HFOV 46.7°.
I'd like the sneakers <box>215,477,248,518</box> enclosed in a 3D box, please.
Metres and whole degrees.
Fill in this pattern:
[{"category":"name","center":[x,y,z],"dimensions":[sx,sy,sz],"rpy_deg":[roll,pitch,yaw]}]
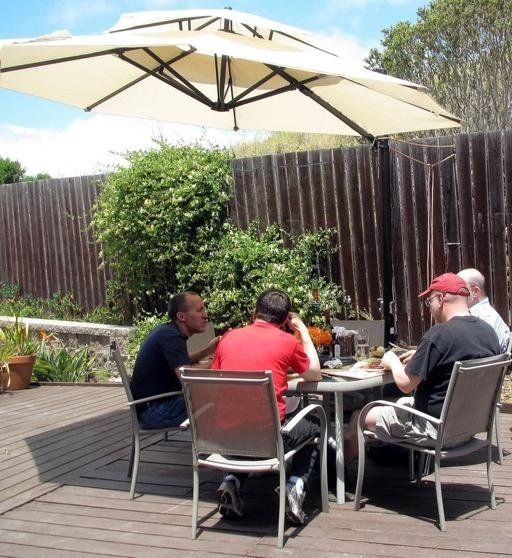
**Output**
[{"category":"sneakers","center":[-0.118,1.050,2.876],"dimensions":[0.080,0.270,0.126],"rpy_deg":[-2,43,5]}]

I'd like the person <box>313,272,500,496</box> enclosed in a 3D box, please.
[{"category":"person","center":[0.851,0.492,3.026],"dimensions":[0.647,1.039,0.543],"rpy_deg":[4,2,37]}]

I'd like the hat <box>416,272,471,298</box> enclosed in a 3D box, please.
[{"category":"hat","center":[0.940,0.027,2.982],"dimensions":[0.188,0.126,0.131],"rpy_deg":[6,4,31]}]

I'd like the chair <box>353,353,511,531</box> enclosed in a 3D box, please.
[{"category":"chair","center":[0.988,0.733,3.238],"dimensions":[0.760,1.158,0.713],"rpy_deg":[0,0,41]}]

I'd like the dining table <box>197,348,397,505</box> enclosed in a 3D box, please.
[{"category":"dining table","center":[0.325,0.621,3.213],"dimensions":[0.713,0.712,0.887],"rpy_deg":[-2,1,25]}]

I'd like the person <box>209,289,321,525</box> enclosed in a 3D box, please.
[{"category":"person","center":[0.035,0.623,2.970],"dimensions":[0.521,1.100,0.584],"rpy_deg":[2,6,15]}]

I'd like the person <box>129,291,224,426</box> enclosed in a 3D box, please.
[{"category":"person","center":[-0.457,0.643,3.536],"dimensions":[0.553,1.117,0.460],"rpy_deg":[-2,-3,-30]}]

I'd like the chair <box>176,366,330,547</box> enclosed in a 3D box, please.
[{"category":"chair","center":[-0.036,0.760,2.973],"dimensions":[0.609,1.064,0.753],"rpy_deg":[0,3,22]}]
